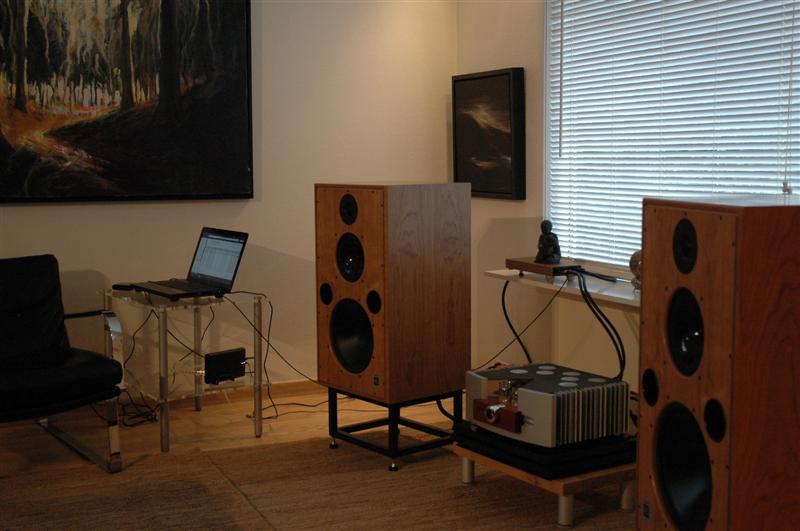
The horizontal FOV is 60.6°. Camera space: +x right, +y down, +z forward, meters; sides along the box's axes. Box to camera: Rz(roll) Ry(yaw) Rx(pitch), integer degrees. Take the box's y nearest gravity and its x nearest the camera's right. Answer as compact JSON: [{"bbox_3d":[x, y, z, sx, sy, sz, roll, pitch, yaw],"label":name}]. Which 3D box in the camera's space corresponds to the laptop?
[{"bbox_3d":[-1.106,0.002,3.714,0.435,0.340,0.485,4,1,-37],"label":"laptop"}]

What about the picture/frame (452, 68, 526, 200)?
[{"bbox_3d":[0.567,-0.806,4.217,0.123,0.801,0.933,-4,2,-25],"label":"picture/frame"}]

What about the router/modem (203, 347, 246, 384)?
[{"bbox_3d":[-0.990,0.576,3.865,0.185,0.154,0.060,-4,11,-36],"label":"router/modem"}]
